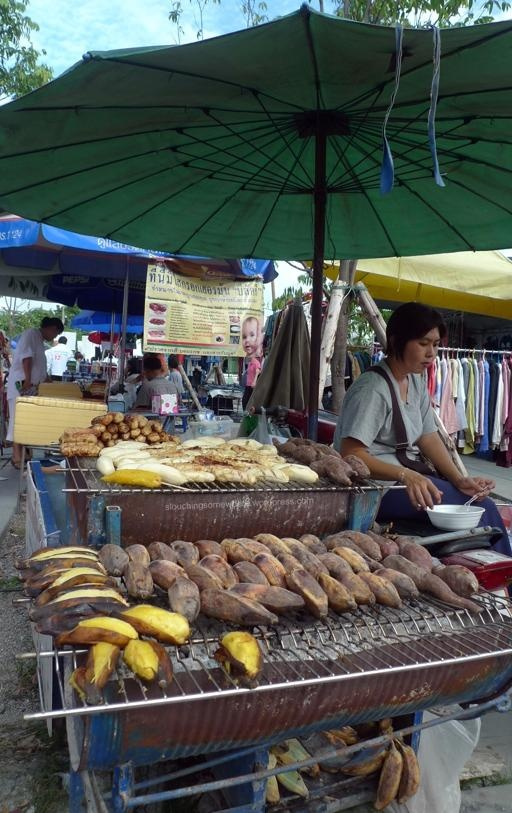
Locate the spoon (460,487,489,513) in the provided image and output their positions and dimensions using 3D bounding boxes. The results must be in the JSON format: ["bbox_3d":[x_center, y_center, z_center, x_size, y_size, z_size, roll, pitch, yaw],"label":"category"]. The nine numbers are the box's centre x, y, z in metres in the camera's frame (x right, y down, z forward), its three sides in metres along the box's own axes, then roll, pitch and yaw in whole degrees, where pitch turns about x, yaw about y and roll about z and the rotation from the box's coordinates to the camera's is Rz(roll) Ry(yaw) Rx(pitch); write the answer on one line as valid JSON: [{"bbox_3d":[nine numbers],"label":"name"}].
[{"bbox_3d":[1.116,0.480,2.787,0.193,0.051,0.045,-28,15,-29],"label":"spoon"}]

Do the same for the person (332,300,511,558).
[{"bbox_3d":[0.881,0.070,3.042,0.592,1.801,0.625,-1,2,-40],"label":"person"}]

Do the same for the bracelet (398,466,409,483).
[{"bbox_3d":[0.696,0.328,2.577,0.022,0.061,0.046,-17,30,8],"label":"bracelet"}]

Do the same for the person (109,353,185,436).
[{"bbox_3d":[-1.345,-0.255,7.072,0.841,1.379,0.802,-1,6,-36],"label":"person"}]

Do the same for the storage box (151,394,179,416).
[{"bbox_3d":[-0.928,-0.002,5.623,0.227,0.236,0.223,2,-5,-25],"label":"storage box"}]
